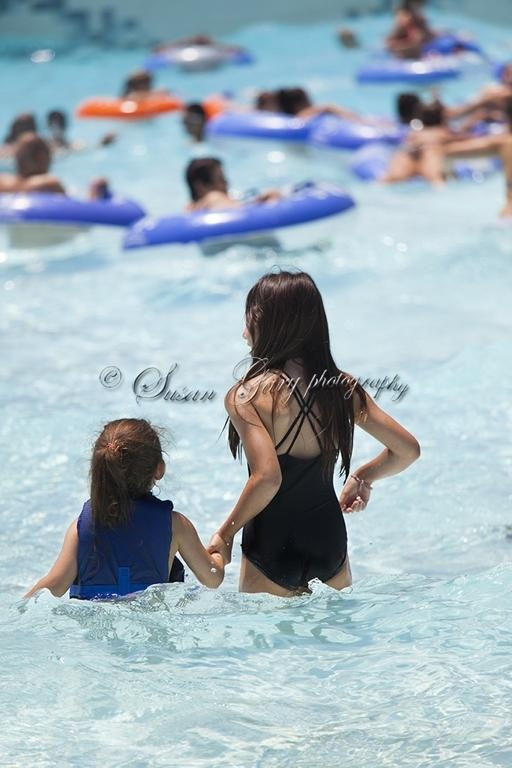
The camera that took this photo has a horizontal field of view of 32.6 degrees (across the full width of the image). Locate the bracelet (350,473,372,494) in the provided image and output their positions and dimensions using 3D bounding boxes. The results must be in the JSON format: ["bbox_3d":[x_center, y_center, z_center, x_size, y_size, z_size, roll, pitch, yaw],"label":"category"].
[{"bbox_3d":[0.321,0.301,2.659,0.016,0.058,0.044,-48,29,-15],"label":"bracelet"}]

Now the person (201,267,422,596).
[{"bbox_3d":[0.118,0.157,2.505,0.626,0.953,0.295,-16,25,-29],"label":"person"}]
